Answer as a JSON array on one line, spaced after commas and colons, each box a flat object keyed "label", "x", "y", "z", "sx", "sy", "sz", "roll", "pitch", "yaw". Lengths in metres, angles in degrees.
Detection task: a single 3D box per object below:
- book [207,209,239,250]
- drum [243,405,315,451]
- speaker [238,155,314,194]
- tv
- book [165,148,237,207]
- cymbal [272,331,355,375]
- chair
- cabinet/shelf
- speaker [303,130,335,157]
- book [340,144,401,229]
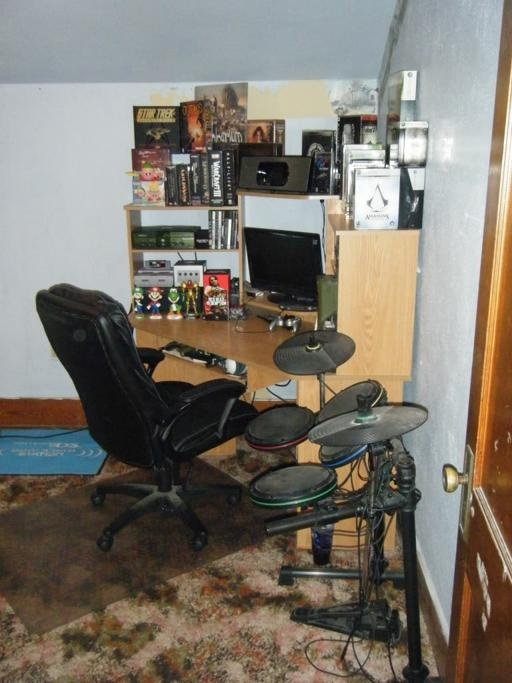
[{"label": "book", "x": -0.178, "y": -0.614, "z": 3.146, "sx": 0.184, "sy": 0.273, "sz": 0.199, "roll": 3, "pitch": 25, "yaw": 5}, {"label": "drum", "x": 0.096, "y": 0.327, "z": 2.189, "sx": 0.265, "sy": 0.126, "sz": 0.327, "roll": 0, "pitch": 13, "yaw": 6}, {"label": "speaker", "x": 0.081, "y": -0.808, "z": 2.793, "sx": 0.103, "sy": 0.201, "sz": 0.507, "roll": -10, "pitch": 15, "yaw": -31}, {"label": "tv", "x": 0.164, "y": -0.404, "z": 3.066, "sx": 0.519, "sy": 0.390, "sz": 0.248, "roll": 16, "pitch": 38, "yaw": 42}, {"label": "book", "x": -0.284, "y": -0.859, "z": 3.056, "sx": 0.286, "sy": 0.267, "sz": 0.156, "roll": 3, "pitch": 24, "yaw": 8}, {"label": "cymbal", "x": 0.194, "y": 0.034, "z": 2.025, "sx": 0.230, "sy": 0.123, "sz": 0.342, "roll": -7, "pitch": 14, "yaw": -22}, {"label": "chair", "x": -0.403, "y": 0.289, "z": 2.412, "sx": 0.796, "sy": 1.037, "sz": 0.672, "roll": -13, "pitch": 20, "yaw": -42}, {"label": "cabinet/shelf", "x": 0.044, "y": 0.135, "z": 2.402, "sx": 1.418, "sy": 1.346, "sz": 0.501, "roll": 11, "pitch": 19, "yaw": 35}, {"label": "speaker", "x": 0.315, "y": -1.029, "z": 2.966, "sx": 0.162, "sy": 0.124, "sz": 0.112, "roll": 2, "pitch": 13, "yaw": 15}, {"label": "book", "x": 0.427, "y": -0.565, "z": 2.090, "sx": 0.188, "sy": 0.247, "sz": 0.332, "roll": 0, "pitch": 37, "yaw": 2}]
